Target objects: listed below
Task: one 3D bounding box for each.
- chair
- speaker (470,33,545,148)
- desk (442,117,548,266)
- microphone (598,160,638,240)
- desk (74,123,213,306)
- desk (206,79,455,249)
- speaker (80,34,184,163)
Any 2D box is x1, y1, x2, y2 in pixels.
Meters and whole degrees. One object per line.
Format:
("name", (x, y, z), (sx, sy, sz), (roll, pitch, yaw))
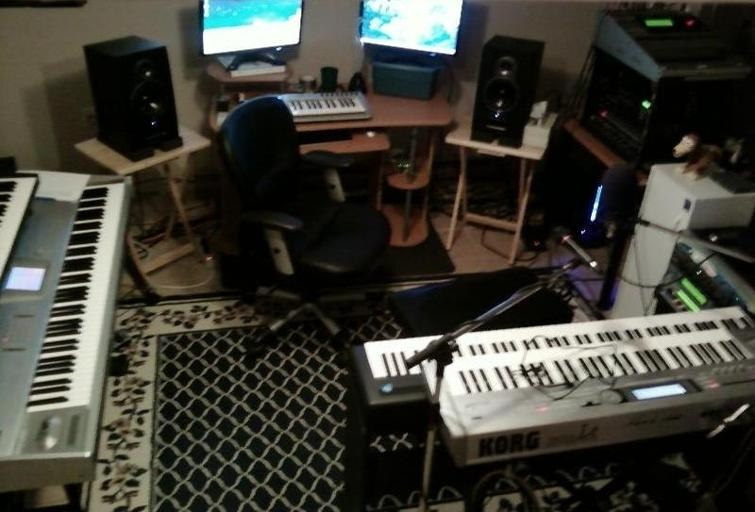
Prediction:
("chair", (-0.467, -0.158, 3.665), (1.083, 1.238, 1.042), (15, 46, 14))
("speaker", (0.837, -1.068, 3.991), (0.387, 0.640, 0.325), (8, 40, 12))
("desk", (0.877, -0.513, 4.489), (0.742, 0.838, 0.733), (18, 37, 28))
("microphone", (1.463, -0.398, 3.751), (0.209, 0.349, 0.310), (-4, 38, -3))
("desk", (-1.451, -0.237, 3.749), (0.820, 1.116, 0.852), (-16, 59, -23))
("desk", (-0.006, -0.646, 4.512), (1.423, 0.840, 0.664), (-2, 58, 0))
("speaker", (-1.445, -0.933, 3.611), (0.412, 0.621, 0.359), (-32, 47, -32))
